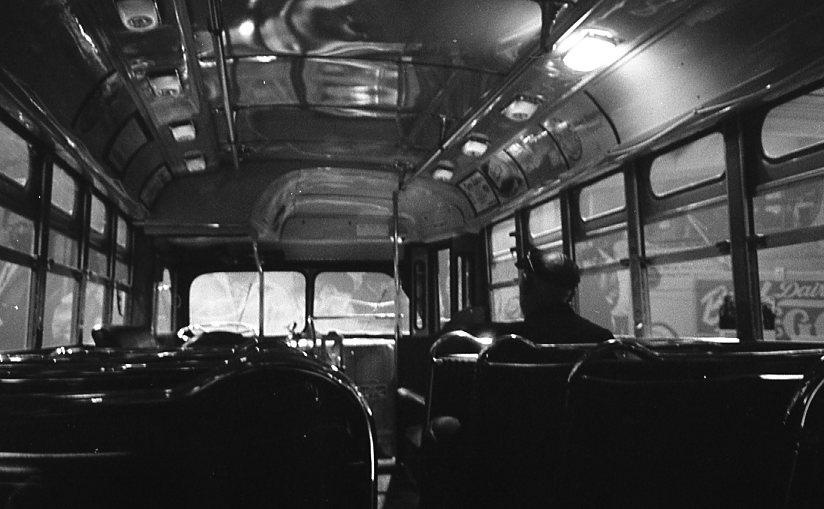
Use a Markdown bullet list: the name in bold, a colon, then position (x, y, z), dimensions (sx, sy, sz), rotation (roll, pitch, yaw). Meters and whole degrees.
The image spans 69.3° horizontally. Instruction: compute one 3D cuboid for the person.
- **person**: position (0.884, 0.298, 3.772), dimensions (0.744, 0.624, 0.345), rotation (8, 6, 12)
